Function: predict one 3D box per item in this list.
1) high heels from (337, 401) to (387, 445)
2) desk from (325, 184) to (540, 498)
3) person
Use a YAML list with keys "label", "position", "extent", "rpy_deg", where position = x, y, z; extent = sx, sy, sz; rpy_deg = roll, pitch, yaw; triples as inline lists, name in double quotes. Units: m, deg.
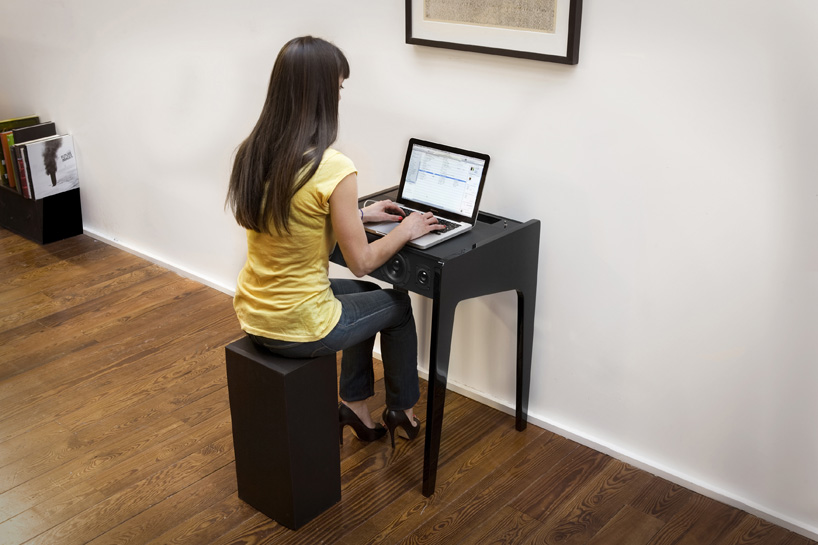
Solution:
- label: "high heels"
  position: [-0.196, 0.690, 2.760]
  extent: [0.295, 0.219, 0.109]
  rpy_deg: [-6, 18, -24]
- label: "desk"
  position: [0.039, 0.225, 2.852]
  extent: [0.804, 1.021, 0.964]
  rpy_deg: [-14, 25, -38]
- label: "person"
  position: [-0.307, -0.004, 2.314]
  extent: [0.766, 1.725, 0.366]
  rpy_deg: [-4, 25, -20]
